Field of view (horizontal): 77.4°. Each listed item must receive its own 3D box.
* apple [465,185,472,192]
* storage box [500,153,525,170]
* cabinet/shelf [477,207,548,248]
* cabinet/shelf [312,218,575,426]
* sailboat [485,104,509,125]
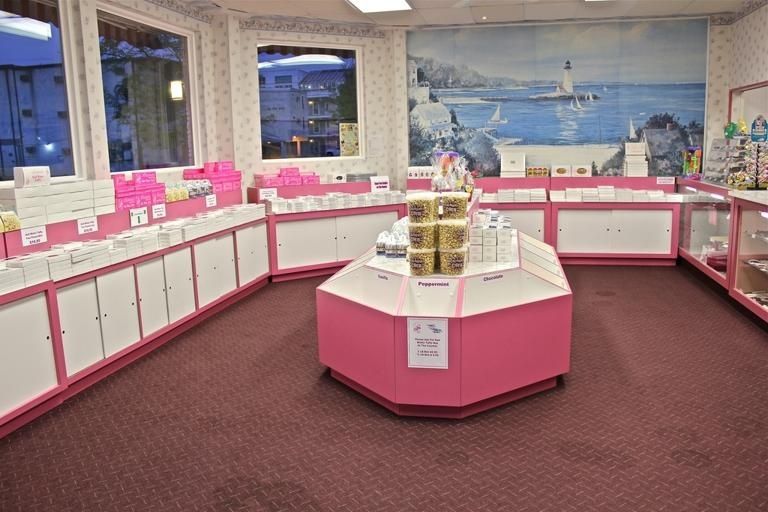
[{"bbox_3d":[1.049,-0.860,5.989,0.088,0.033,0.085,11,42,19],"label":"apple"},{"bbox_3d":[2.397,-1.740,8.905,0.388,0.334,0.272,5,8,9],"label":"storage box"},{"bbox_3d":[1.682,-0.398,6.145,0.807,0.679,0.251,2,10,13],"label":"cabinet/shelf"},{"bbox_3d":[0.539,0.511,4.280,1.899,0.770,1.626,-2,9,-5],"label":"cabinet/shelf"},{"bbox_3d":[2.200,-2.781,9.302,0.433,0.419,0.107,3,29,11],"label":"sailboat"}]
